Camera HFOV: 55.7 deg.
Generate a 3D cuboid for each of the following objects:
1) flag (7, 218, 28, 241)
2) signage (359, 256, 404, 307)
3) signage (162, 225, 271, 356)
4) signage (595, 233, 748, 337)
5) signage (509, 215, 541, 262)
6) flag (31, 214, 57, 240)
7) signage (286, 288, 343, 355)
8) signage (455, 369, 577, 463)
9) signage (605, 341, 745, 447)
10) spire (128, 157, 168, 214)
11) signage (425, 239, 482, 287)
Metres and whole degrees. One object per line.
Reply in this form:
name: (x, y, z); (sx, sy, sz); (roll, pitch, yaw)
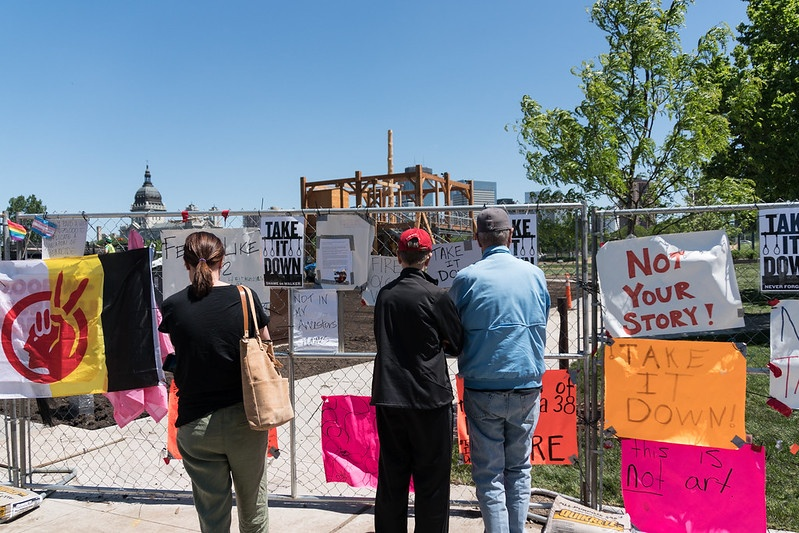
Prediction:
flag: (-4.751, -0.455, 9.392); (0.263, 0.364, 0.031); (2, -3, -38)
signage: (-0.193, 0.149, 8.521); (0.532, 0.585, 0.031); (1, -1, 5)
signage: (-1.899, 0.262, 8.051); (1.434, 1.123, 0.098); (-1, -1, 3)
signage: (2.996, 0.230, 8.469); (1.021, 0.795, 0.129); (-9, 1, 11)
signage: (1.422, -0.316, 8.635); (0.504, 0.746, 0.030); (0, 1, 17)
flag: (-4.353, -0.504, 9.280); (0.229, 0.321, 0.024); (-44, 15, -17)
signage: (-0.998, 0.672, 8.968); (0.714, 0.975, 0.094); (0, 3, 5)
signage: (1.315, 1.622, 8.111); (1.127, 0.986, 0.058); (0, -6, 2)
signage: (3.121, 1.432, 8.379); (1.105, 0.868, 0.053); (0, -3, 9)
spire: (-53.613, -16.670, 161.251); (4.773, 9.603, 21.417); (0, 1, -18)
signage: (0.622, -0.029, 8.495); (0.488, 0.536, 0.025); (-3, 0, 2)
